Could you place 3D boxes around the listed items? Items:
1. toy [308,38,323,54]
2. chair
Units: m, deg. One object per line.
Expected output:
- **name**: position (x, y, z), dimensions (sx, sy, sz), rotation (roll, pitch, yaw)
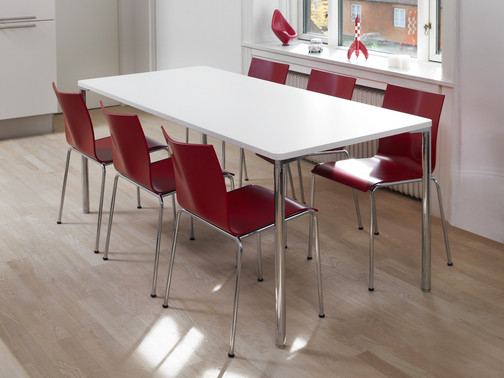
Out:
- **toy**: position (0.616, -1.410, 4.377), dimensions (0.124, 0.133, 0.195), rotation (2, 16, 10)
- **chair**: position (0.044, 0.132, 2.727), dimensions (0.864, 0.810, 1.717), rotation (-11, 18, -34)
